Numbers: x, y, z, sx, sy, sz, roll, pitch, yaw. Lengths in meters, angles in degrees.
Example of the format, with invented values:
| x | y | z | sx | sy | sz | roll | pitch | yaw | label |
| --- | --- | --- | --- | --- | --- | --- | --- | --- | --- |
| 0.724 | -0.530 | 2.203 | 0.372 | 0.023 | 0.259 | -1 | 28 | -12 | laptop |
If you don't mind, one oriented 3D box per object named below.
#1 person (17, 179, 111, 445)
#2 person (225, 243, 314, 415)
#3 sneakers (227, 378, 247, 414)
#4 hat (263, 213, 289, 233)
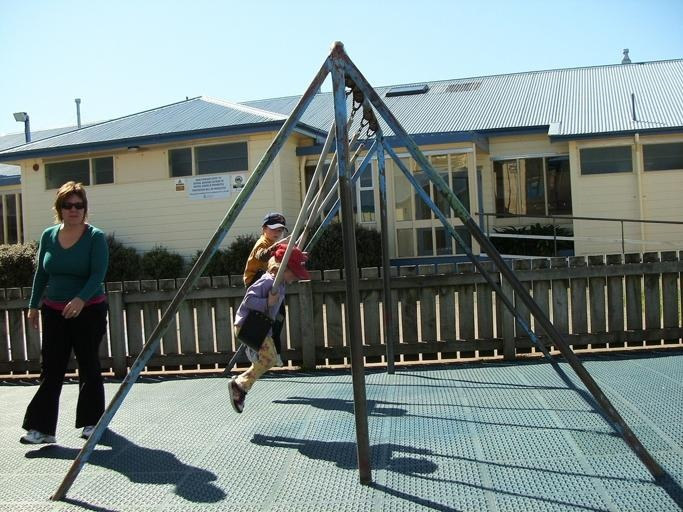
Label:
| x | y | z | sx | sy | sz | roll | pitch | yaw | label |
| --- | --- | --- | --- | --- | --- | --- | --- | --- | --- |
| -2.362 | 0.461 | 6.086 | 0.742 | 2.126 | 0.689 | -4 | 8 | -5 | person |
| -0.623 | 0.636 | 6.218 | 0.581 | 1.462 | 0.792 | 1 | 9 | 28 | person |
| -0.891 | 1.197 | 6.096 | 0.129 | 0.327 | 0.134 | -6 | 8 | -23 | sneakers |
| -0.644 | -0.318 | 6.799 | 0.156 | 0.133 | 0.225 | 3 | -5 | -21 | hat |
